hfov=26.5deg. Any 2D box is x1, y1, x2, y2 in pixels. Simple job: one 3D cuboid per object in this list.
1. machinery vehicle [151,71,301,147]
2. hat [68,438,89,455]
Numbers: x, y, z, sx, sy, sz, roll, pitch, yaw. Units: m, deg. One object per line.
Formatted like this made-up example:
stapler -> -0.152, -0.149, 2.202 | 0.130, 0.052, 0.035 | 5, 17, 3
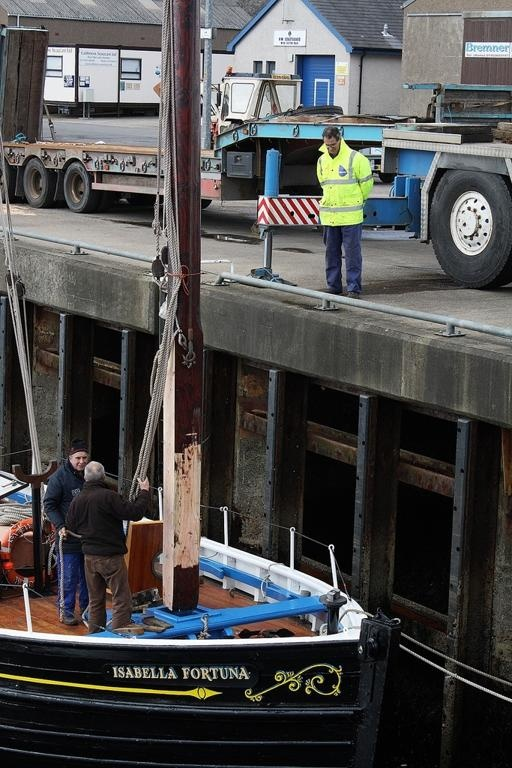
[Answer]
machinery vehicle -> -0.270, -4.296, 17.012 | 1.917, 1.513, 0.938 | 14, 16, 29
hat -> -1.036, 0.368, 6.532 | 0.077, 0.116, 0.127 | 0, -4, -14
